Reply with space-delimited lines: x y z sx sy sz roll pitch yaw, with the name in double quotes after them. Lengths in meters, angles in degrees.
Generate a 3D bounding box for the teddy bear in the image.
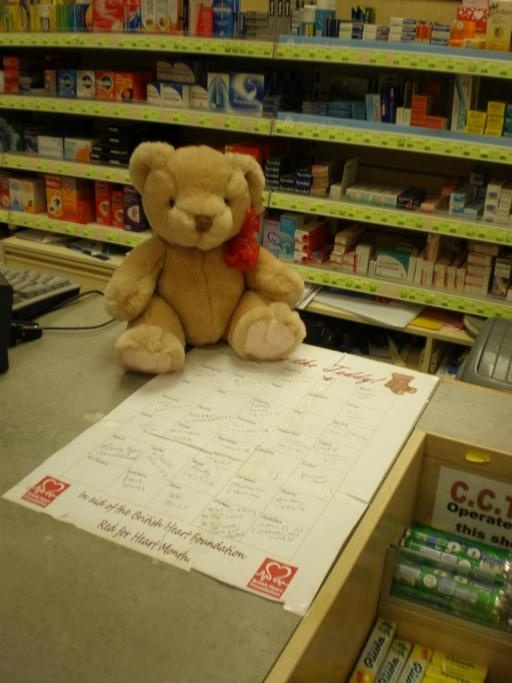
-0.148 -0.240 1.501 0.553 0.560 0.404 -5 31 -19 "teddy bear"
